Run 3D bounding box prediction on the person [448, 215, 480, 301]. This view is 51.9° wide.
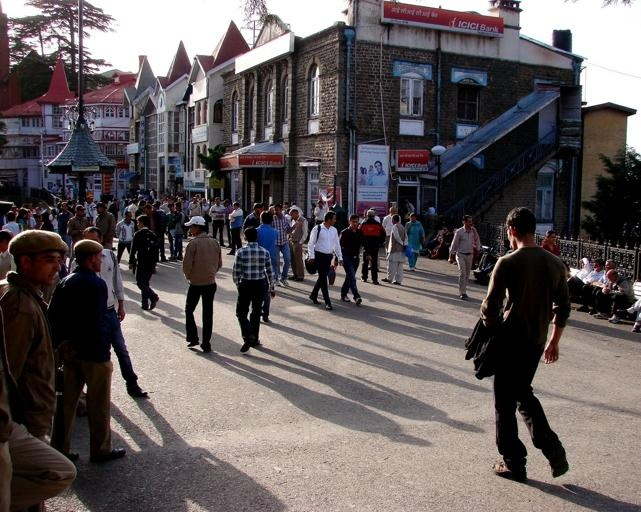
[{"bbox_3d":[3.415,0.007,15.785,0.798,1.957,0.526,-3,6,-34],"label":"person"}]

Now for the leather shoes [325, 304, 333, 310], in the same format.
[{"bbox_3d":[0.169,1.056,13.798,0.076,0.096,0.137,0,7,-17],"label":"leather shoes"}]

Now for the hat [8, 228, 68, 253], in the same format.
[{"bbox_3d":[-2.113,-0.112,4.939,0.403,0.173,0.235,-2,7,-27],"label":"hat"}]

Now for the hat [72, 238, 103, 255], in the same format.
[{"bbox_3d":[-2.405,-0.106,6.822,0.276,0.118,0.308,1,-3,-8],"label":"hat"}]

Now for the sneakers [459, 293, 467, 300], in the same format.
[{"bbox_3d":[3.371,0.949,15.720,0.108,0.150,0.328,-2,-7,5],"label":"sneakers"}]

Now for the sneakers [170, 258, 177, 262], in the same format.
[{"bbox_3d":[-4.961,0.103,22.252,0.092,0.126,0.272,-2,10,-36],"label":"sneakers"}]

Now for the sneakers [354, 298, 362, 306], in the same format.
[{"bbox_3d":[0.803,0.990,14.464,0.149,0.199,0.437,1,1,1],"label":"sneakers"}]

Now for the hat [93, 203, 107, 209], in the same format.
[{"bbox_3d":[-5.397,-1.262,16.091,0.235,0.137,0.164,17,5,34],"label":"hat"}]

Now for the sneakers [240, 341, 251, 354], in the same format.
[{"bbox_3d":[-1.171,1.395,10.091,0.078,0.249,0.102,22,-16,22],"label":"sneakers"}]

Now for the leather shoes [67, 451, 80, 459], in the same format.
[{"bbox_3d":[-2.338,1.874,6.218,0.125,0.059,0.046,9,2,-39],"label":"leather shoes"}]

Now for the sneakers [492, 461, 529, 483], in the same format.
[{"bbox_3d":[1.719,1.958,5.989,0.136,0.145,0.274,-3,14,-37],"label":"sneakers"}]

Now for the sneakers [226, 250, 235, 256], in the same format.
[{"bbox_3d":[-3.163,-0.145,23.331,0.373,0.283,0.150,16,11,39],"label":"sneakers"}]

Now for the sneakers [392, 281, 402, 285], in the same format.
[{"bbox_3d":[2.065,0.718,17.947,0.089,0.116,0.256,1,-3,-12],"label":"sneakers"}]

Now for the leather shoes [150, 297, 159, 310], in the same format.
[{"bbox_3d":[-3.387,0.945,13.366,0.079,0.255,0.104,28,8,13],"label":"leather shoes"}]

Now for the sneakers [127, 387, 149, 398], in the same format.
[{"bbox_3d":[-2.207,1.640,7.939,0.209,0.094,0.108,4,7,-5],"label":"sneakers"}]

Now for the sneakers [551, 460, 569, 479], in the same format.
[{"bbox_3d":[2.118,1.909,5.907,0.134,0.186,0.186,-3,-15,15],"label":"sneakers"}]

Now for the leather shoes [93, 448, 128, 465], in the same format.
[{"bbox_3d":[-1.989,1.849,6.223,0.290,0.135,0.107,-5,10,-37],"label":"leather shoes"}]

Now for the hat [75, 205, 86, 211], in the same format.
[{"bbox_3d":[-6.103,-1.235,16.631,0.316,0.137,0.295,4,8,37],"label":"hat"}]

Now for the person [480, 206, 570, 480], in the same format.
[{"bbox_3d":[1.871,0.781,6.056,0.815,2.440,0.646,1,5,5],"label":"person"}]

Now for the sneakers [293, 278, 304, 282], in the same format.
[{"bbox_3d":[-0.628,0.637,18.186,0.269,0.132,0.100,11,-4,-5],"label":"sneakers"}]

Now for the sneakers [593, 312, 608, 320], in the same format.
[{"bbox_3d":[5.982,1.277,14.157,0.274,0.132,0.103,4,9,43],"label":"sneakers"}]
